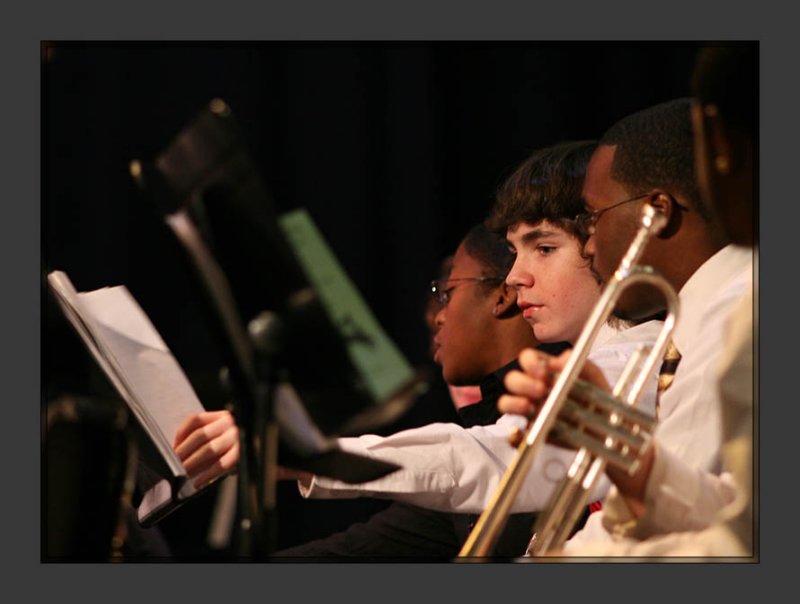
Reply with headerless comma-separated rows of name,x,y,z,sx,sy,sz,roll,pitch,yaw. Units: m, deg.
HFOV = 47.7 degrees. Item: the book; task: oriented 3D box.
book,-0.817,0.175,2.802,0.368,0.559,0.573,-3,10,-32
